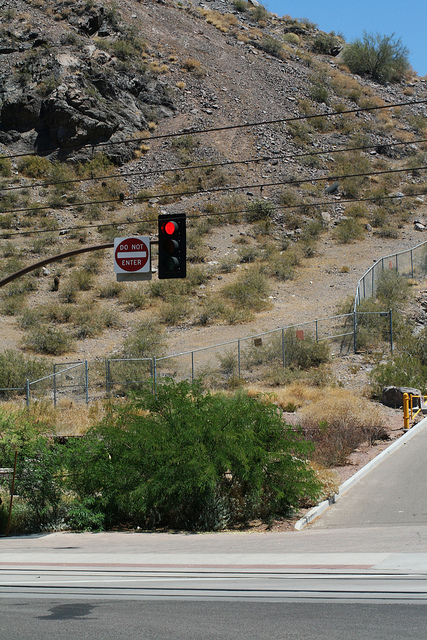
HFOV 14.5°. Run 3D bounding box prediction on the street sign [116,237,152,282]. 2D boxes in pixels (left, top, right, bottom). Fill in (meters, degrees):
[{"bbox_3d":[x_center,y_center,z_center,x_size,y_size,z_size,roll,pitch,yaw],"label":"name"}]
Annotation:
[{"bbox_3d":[-3.582,-2.720,75.693,1.501,2.150,0.135,2,5,12],"label":"street sign"}]
